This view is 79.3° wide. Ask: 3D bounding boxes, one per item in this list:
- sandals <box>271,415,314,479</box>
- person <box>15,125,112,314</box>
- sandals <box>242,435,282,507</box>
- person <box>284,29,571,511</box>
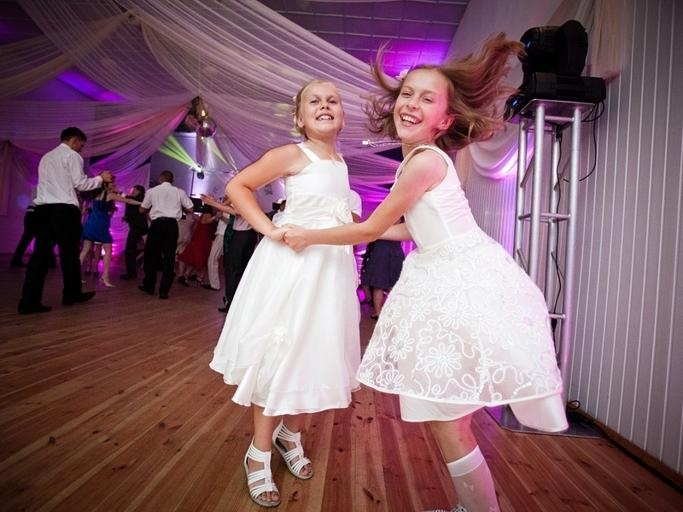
[{"bbox_3d":[-0.223,0.888,1.943,0.119,0.139,0.324,4,5,-32],"label":"sandals"},{"bbox_3d":[-2.823,-0.388,4.263,0.550,1.888,0.841,2,1,44],"label":"person"},{"bbox_3d":[-0.329,0.920,1.755,0.101,0.119,0.276,2,6,-15],"label":"sandals"},{"bbox_3d":[0.386,0.092,1.541,0.912,1.944,0.599,10,9,35],"label":"person"}]
